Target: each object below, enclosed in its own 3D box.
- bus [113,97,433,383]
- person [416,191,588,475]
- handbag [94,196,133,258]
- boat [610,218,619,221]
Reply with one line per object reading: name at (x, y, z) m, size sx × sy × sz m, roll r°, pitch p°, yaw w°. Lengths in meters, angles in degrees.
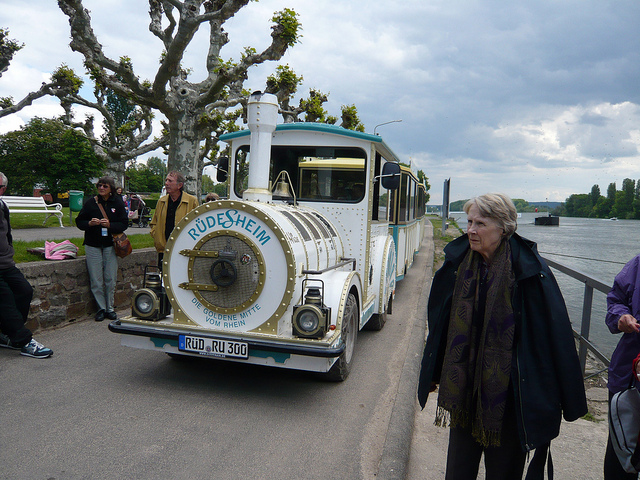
bus at (0.197, -0.069, 8.508) m, size 2.376 × 3.061 × 7.960 m, roll 2°, pitch 1°, yaw 18°
person at (1.283, 0.725, 3.149) m, size 1.129 × 2.068 × 0.470 m, roll 8°, pitch 12°, yaw 32°
handbag at (-3.375, -0.194, 7.152) m, size 0.499 × 1.032 × 0.392 m, roll -4°, pitch 11°, yaw -32°
boat at (72.806, -5.280, 108.600) m, size 0.881 × 0.573 × 1.337 m, roll 0°, pitch -4°, yaw 0°
